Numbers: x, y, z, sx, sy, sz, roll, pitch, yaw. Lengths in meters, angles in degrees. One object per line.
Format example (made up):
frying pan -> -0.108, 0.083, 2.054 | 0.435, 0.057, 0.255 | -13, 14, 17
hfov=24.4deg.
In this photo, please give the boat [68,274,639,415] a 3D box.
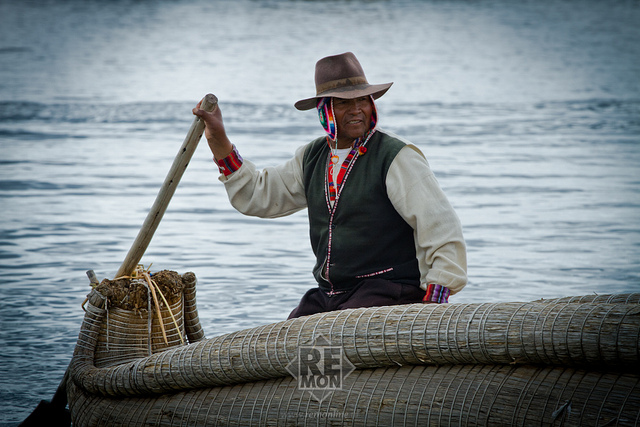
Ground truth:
boat -> 0.807, 1.806, 21.273 | 9.405, 2.066, 2.516 | -3, -12, 18
